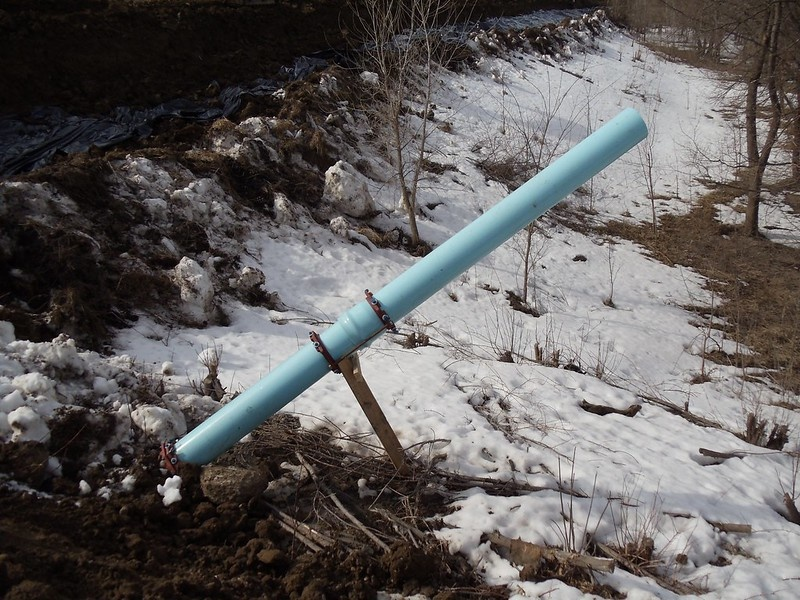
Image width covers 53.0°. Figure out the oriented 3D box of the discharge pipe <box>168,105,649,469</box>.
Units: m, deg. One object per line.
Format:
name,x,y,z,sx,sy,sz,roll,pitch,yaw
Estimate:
discharge pipe,-0.104,-0.253,16.305,12.351,1.652,1.644,-33,17,3
